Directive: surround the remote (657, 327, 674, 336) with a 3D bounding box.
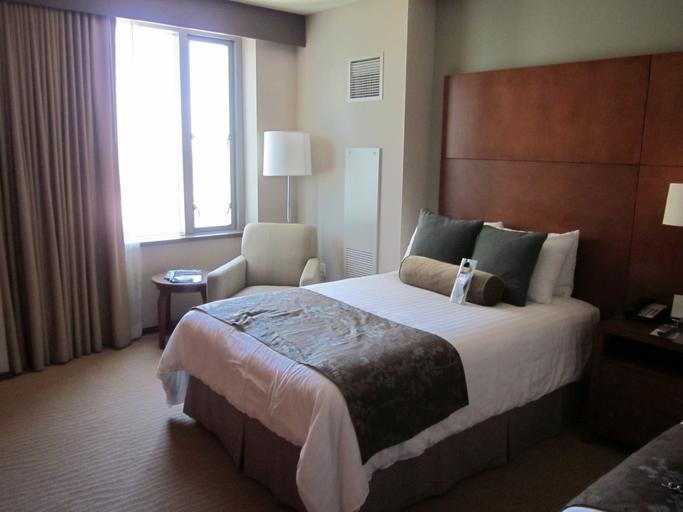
[{"bbox_3d":[2.019,0.464,3.211,0.115,0.030,0.063,-14,13,-38],"label":"remote"}]

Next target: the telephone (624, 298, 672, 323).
[{"bbox_3d":[2.055,0.359,3.443,0.173,0.088,0.225,8,18,44],"label":"telephone"}]

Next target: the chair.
[{"bbox_3d":[-0.678,0.041,4.675,0.808,0.971,0.745,2,6,6],"label":"chair"}]

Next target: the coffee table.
[{"bbox_3d":[-1.526,0.506,4.966,0.618,0.734,0.639,-3,14,-25],"label":"coffee table"}]

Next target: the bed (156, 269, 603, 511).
[{"bbox_3d":[0.440,0.692,2.995,1.749,0.452,1.495,-3,8,-18],"label":"bed"}]

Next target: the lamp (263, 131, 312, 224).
[{"bbox_3d":[-0.549,-0.803,5.348,0.510,0.949,0.507,-2,12,-8],"label":"lamp"}]
